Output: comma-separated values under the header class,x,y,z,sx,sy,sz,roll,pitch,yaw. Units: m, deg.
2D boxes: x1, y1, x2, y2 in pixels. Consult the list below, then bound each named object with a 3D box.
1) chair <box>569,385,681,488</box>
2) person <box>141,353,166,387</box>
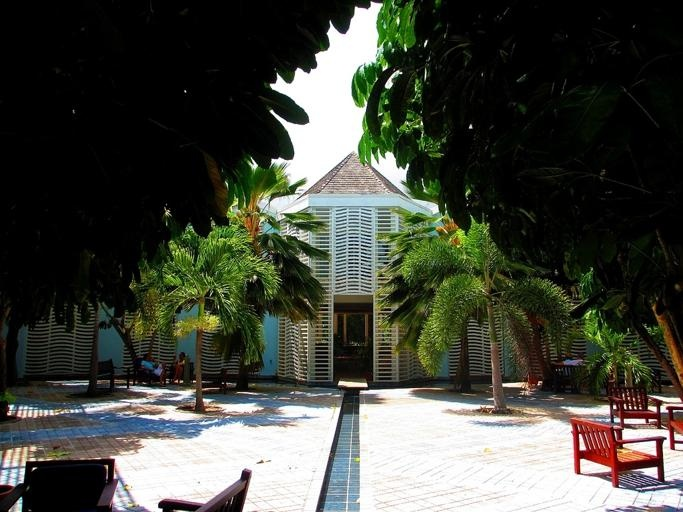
class,x,y,z,sx,sy,sz,roll,pitch,yaw
chair,3.698,2.511,6.340,1.356,0.708,1.225,3,-12,-18
person,-6.755,4.000,17.138,0.881,1.103,1.228,4,-12,-23
